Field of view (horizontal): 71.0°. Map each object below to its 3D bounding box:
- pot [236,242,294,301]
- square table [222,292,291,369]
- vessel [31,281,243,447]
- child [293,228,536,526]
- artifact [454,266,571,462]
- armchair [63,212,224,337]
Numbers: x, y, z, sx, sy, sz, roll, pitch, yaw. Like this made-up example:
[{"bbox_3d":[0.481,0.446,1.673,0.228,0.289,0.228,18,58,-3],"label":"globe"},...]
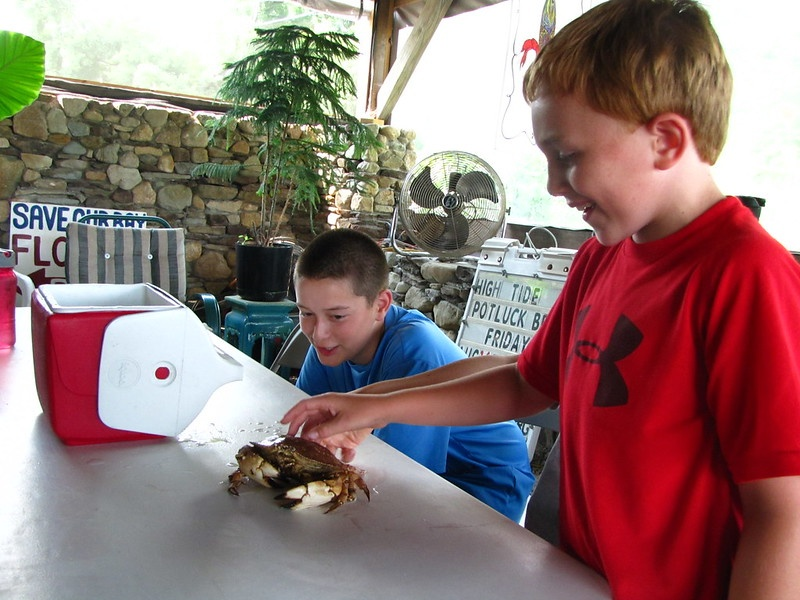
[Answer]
[{"bbox_3d":[-1.031,-0.175,4.293,0.385,0.428,0.404,0,-2,0],"label":"pot"},{"bbox_3d":[-1.069,0.237,4.200,0.439,0.573,0.456,6,2,13],"label":"square table"},{"bbox_3d":[-0.573,0.139,1.241,0.384,0.282,0.291,3,6,-31],"label":"vessel"},{"bbox_3d":[0.019,0.276,1.878,0.806,0.898,0.678,8,-11,-29],"label":"child"},{"bbox_3d":[0.682,0.137,3.653,0.550,0.204,1.148,7,-39,0],"label":"artifact"},{"bbox_3d":[-2.167,-0.323,4.816,1.034,1.728,1.174,-1,3,-24],"label":"armchair"}]
